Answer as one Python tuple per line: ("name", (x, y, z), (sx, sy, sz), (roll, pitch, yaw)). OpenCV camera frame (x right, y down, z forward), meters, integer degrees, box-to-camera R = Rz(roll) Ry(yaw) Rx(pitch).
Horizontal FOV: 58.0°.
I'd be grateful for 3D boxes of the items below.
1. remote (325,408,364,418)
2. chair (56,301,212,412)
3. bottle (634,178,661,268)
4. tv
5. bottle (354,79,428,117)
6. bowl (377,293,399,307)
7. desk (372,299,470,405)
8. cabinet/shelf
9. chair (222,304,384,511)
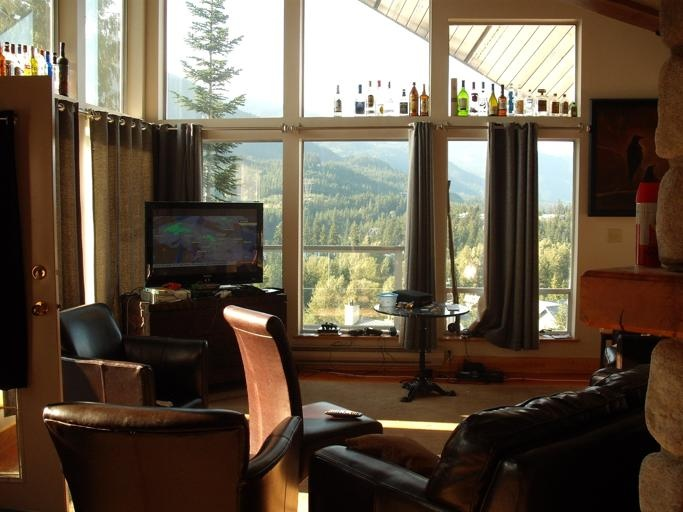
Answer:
("remote", (0.008, 0.921, 3.603), (0.145, 0.035, 0.084), (2, -2, 0))
("chair", (-1.416, 0.824, 4.057), (0.857, 0.871, 0.685), (4, 5, 16))
("bottle", (0.911, -0.100, 1.894), (0.090, 0.232, 0.083), (0, 3, 0))
("tv", (-1.327, -0.049, 5.715), (0.905, 0.633, 0.100), (-3, 6, -26))
("bottle", (0.519, -1.636, 6.406), (0.775, 0.397, 0.194), (1, 4, 8))
("bowl", (0.395, 0.393, 5.503), (0.110, 0.075, 0.122), (3, -8, -40))
("desk", (0.689, 0.821, 5.448), (0.862, 0.769, 0.838), (-1, 1, -32))
("cabinet/shelf", (-1.154, 0.745, 6.040), (0.677, 0.802, 1.281), (-21, -7, 23))
("chair", (-0.217, 0.837, 3.690), (0.861, 1.131, 0.710), (-5, 4, -25))
